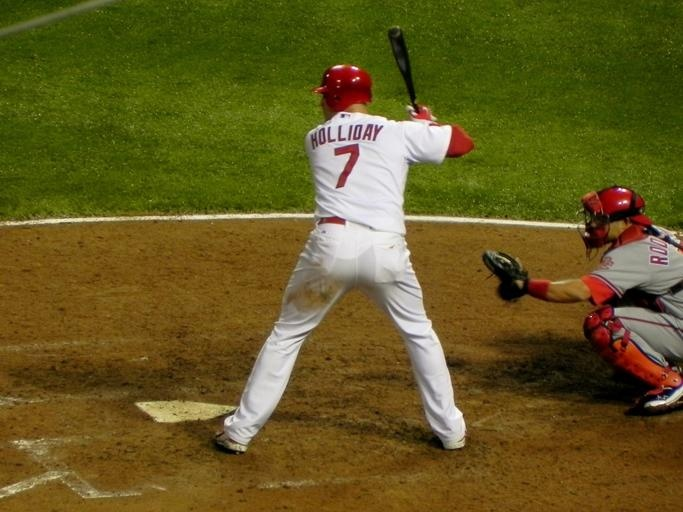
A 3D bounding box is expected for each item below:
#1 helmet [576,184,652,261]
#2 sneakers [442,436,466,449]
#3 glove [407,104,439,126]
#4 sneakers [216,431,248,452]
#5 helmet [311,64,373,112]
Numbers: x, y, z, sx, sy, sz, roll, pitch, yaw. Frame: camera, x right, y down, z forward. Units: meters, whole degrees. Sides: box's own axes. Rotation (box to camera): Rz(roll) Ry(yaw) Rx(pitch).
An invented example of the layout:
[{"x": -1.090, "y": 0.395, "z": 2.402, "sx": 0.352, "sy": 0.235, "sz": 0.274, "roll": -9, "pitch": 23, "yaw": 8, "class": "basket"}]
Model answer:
[{"x": 2.258, "y": -0.342, "z": 10.150, "sx": 0.696, "sy": 0.484, "sz": 0.493, "roll": 4, "pitch": 10, "yaw": 14, "class": "helmet"}, {"x": 0.901, "y": 1.492, "z": 9.651, "sx": 0.186, "sy": 0.071, "sz": 0.086, "roll": 7, "pitch": 41, "yaw": -10, "class": "sneakers"}, {"x": 0.645, "y": -1.127, "z": 9.670, "sx": 0.194, "sy": 0.085, "sz": 0.217, "roll": 8, "pitch": 17, "yaw": -2, "class": "glove"}, {"x": -0.878, "y": 1.465, "z": 9.492, "sx": 0.242, "sy": 0.083, "sz": 0.149, "roll": 26, "pitch": -9, "yaw": -30, "class": "sneakers"}, {"x": 0.046, "y": -1.332, "z": 9.521, "sx": 0.525, "sy": 0.305, "sz": 0.313, "roll": 9, "pitch": 15, "yaw": 4, "class": "helmet"}]
